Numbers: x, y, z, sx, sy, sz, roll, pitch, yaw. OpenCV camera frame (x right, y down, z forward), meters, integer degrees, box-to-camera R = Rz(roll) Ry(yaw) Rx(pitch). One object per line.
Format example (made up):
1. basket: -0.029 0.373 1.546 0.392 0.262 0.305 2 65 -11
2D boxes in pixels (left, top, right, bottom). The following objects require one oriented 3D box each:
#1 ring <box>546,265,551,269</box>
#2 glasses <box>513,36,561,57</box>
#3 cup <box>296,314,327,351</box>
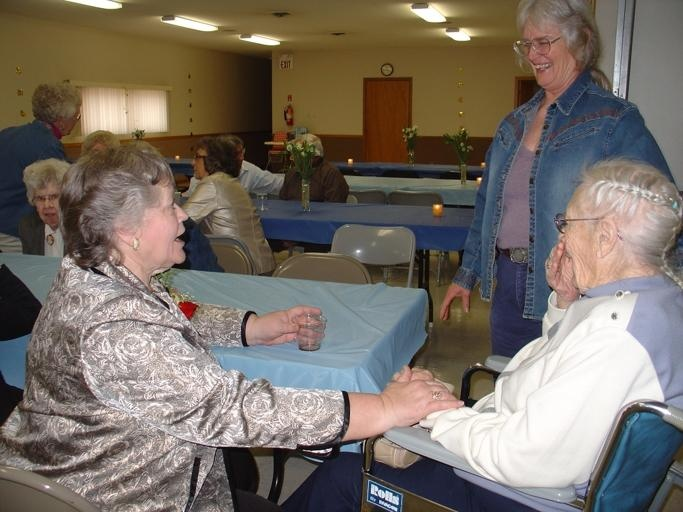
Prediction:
1. ring: 0.599 0.031 1.606 0.003 0.009 0.009 1 -2 -34
2. glasses: 0.715 -0.789 2.113 0.130 0.071 0.216 -4 12 -11
3. cup: -0.102 0.259 1.918 0.109 0.105 0.090 -5 17 -17
